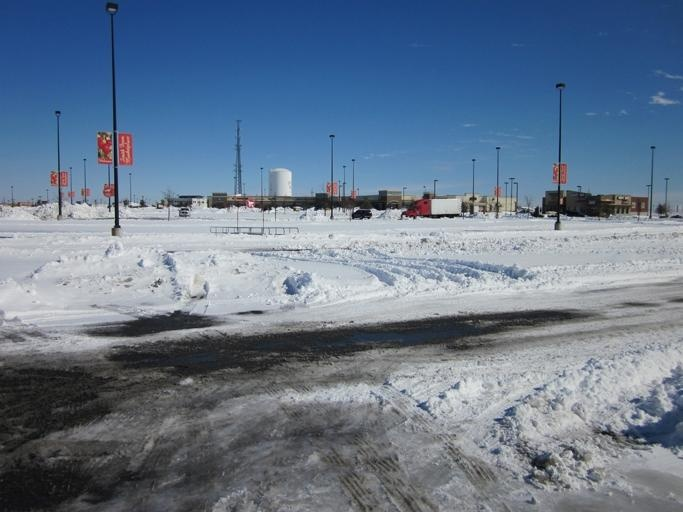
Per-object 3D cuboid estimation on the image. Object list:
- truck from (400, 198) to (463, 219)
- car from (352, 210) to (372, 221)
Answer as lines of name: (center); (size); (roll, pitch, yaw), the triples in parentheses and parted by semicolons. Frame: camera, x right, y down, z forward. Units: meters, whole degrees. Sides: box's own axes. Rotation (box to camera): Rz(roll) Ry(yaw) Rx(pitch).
truck: (12.235, -6.299, 79.495); (8.728, 2.478, 2.116); (-5, 10, -34)
car: (2.414, -4.785, 72.993); (2.202, 1.156, 1.484); (5, 6, 20)
